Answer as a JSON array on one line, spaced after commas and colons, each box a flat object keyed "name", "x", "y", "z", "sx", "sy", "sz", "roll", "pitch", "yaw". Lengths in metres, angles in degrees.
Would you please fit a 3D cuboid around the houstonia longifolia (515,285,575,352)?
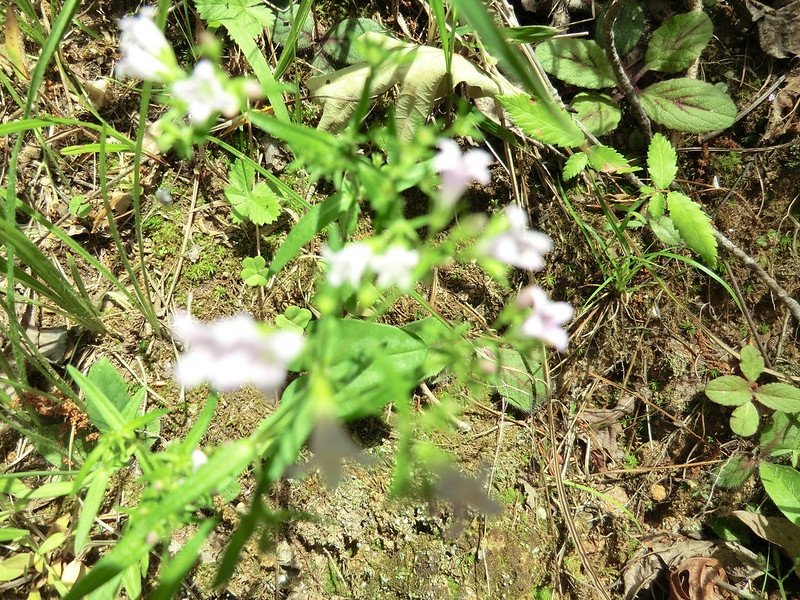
[{"name": "houstonia longifolia", "x": 0.534, "y": 0.072, "z": 2.688, "sx": 0.211, "sy": 0.138, "sz": 0.186, "roll": 12, "pitch": 65, "yaw": 3}]
